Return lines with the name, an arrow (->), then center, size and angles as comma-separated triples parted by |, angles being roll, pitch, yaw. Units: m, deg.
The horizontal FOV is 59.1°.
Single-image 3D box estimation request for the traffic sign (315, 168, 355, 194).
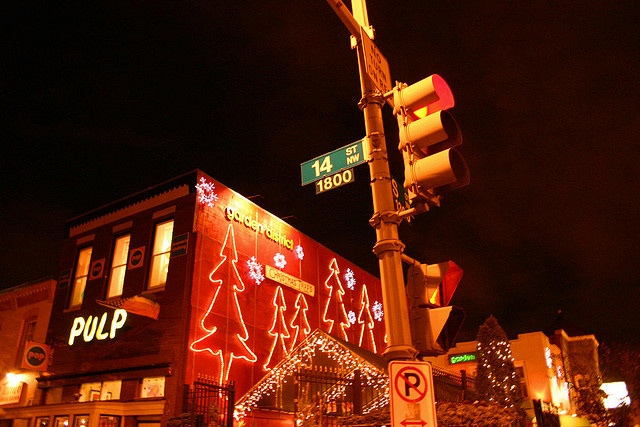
traffic sign -> 0.403, -1.070, 16.338 | 0.016, 0.664, 1.693 | 5, 17, 41
